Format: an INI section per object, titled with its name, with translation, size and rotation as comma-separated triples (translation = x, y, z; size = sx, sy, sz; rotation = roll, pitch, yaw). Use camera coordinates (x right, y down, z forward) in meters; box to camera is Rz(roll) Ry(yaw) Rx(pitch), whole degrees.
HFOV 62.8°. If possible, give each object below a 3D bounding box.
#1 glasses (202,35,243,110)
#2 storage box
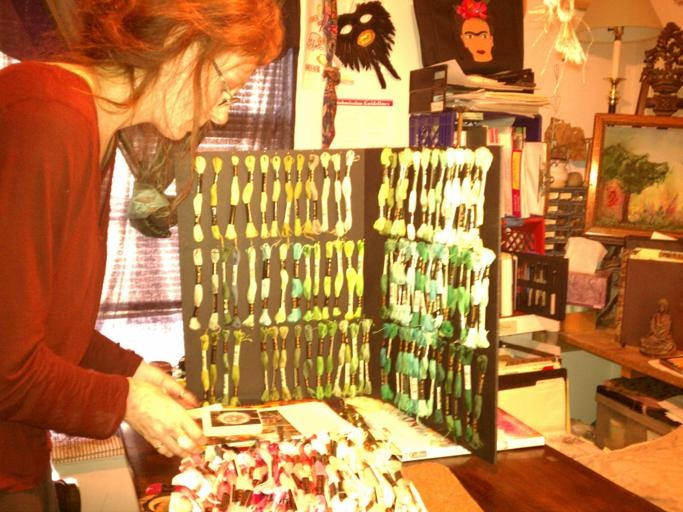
[glasses]
translation = -0.275, -0.415, 1.250
size = 0.025, 0.086, 0.083
rotation = -21, -11, 16
[storage box]
translation = 1.345, 0.706, 2.555
size = 0.323, 0.283, 0.319
rotation = -3, 5, -27
